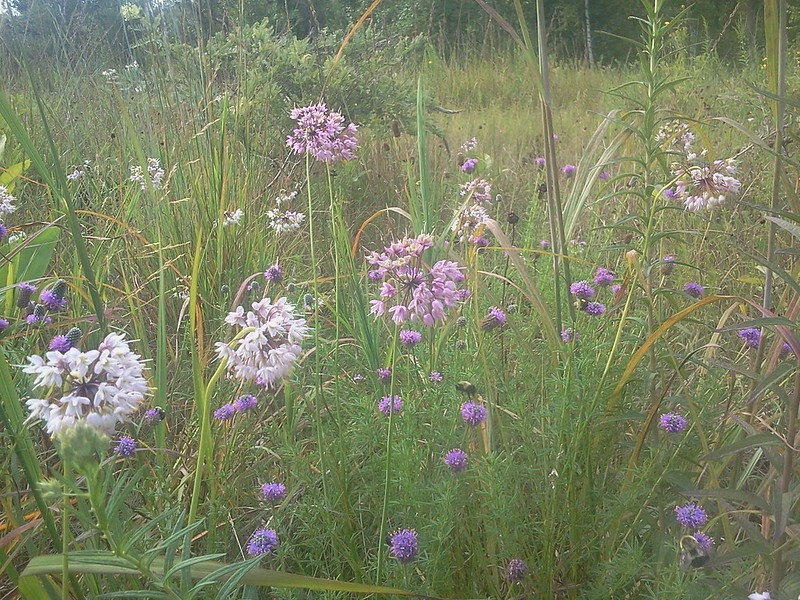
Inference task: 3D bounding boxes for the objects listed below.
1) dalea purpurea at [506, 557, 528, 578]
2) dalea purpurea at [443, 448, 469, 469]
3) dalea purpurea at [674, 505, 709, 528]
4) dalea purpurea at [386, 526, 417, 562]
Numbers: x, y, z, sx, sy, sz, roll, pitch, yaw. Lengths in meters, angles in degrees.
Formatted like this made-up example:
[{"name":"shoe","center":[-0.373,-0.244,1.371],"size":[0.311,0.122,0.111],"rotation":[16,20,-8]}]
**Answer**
[{"name":"dalea purpurea","center":[0.432,1.000,2.717],"size":[0.056,0.062,0.065],"rotation":[-9,11,3]},{"name":"dalea purpurea","center":[0.223,0.620,2.863],"size":[0.086,0.063,0.108],"rotation":[5,24,14]},{"name":"dalea purpurea","center":[1.103,0.821,2.773],"size":[0.076,0.077,0.083],"rotation":[-34,33,-10]},{"name":"dalea purpurea","center":[0.012,0.916,2.758],"size":[0.097,0.124,0.126],"rotation":[0,48,-1]}]
